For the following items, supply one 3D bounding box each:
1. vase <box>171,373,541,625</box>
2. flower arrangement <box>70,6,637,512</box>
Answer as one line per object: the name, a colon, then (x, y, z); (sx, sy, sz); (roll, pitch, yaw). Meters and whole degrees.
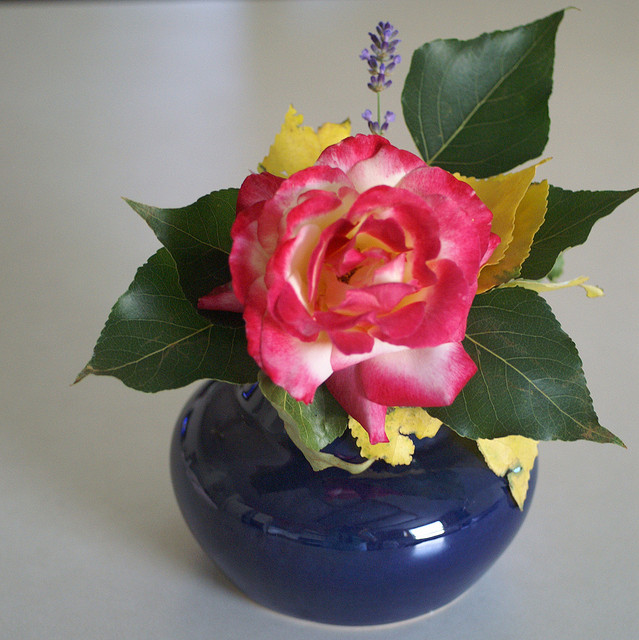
vase: (0.021, 0.172, 0.629); (0.263, 0.142, 0.258); (2, 16, -2)
flower arrangement: (0.042, -0.024, 0.520); (0.352, 0.176, 0.381); (9, 50, 2)
